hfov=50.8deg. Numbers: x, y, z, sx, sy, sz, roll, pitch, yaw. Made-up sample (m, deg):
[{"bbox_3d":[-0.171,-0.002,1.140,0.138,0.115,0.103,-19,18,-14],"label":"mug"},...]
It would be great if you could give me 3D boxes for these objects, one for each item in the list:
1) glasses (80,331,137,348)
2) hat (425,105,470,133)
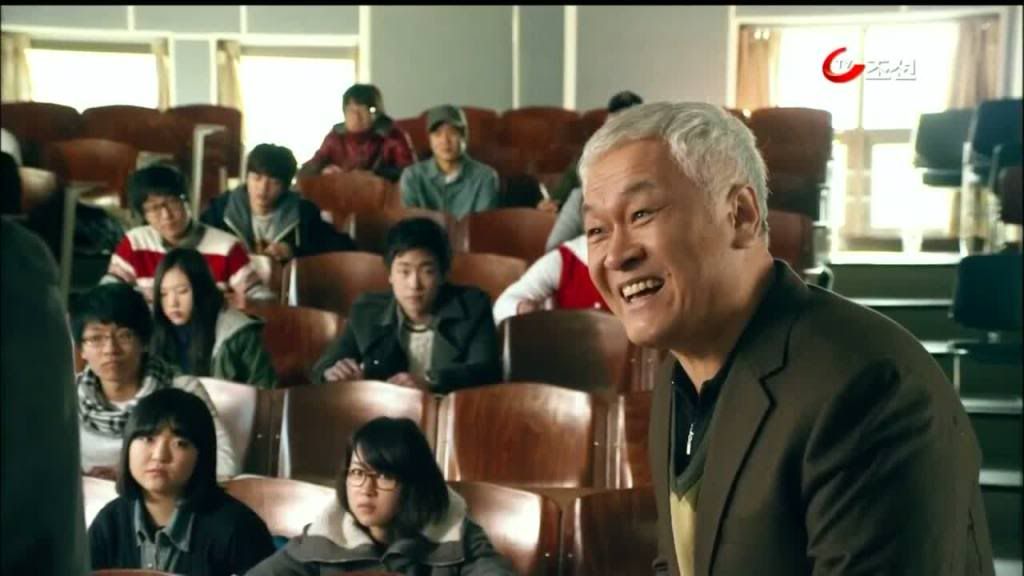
[{"bbox_3d":[-1.618,0.202,4.322,0.204,0.048,0.033,-2,7,-21],"label":"glasses"},{"bbox_3d":[-0.300,-0.780,4.994,0.144,0.071,0.208,-2,-7,6],"label":"hat"}]
